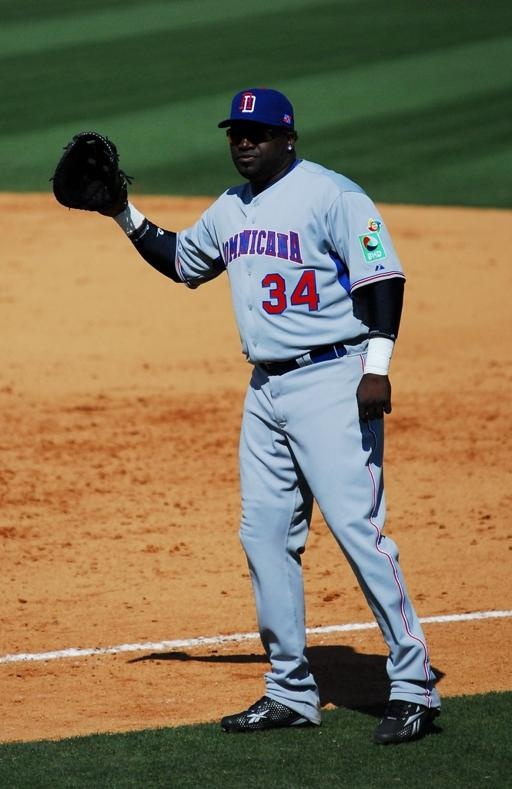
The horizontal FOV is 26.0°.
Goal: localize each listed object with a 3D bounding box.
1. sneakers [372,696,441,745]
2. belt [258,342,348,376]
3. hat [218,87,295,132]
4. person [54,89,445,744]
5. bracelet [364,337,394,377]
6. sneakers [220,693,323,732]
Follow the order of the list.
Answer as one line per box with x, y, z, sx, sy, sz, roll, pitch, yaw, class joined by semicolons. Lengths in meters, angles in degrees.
0.424;0.939;3.241;0.087;0.105;0.241;-1;2;42;sneakers
0.146;-0.099;3.194;0.138;0.045;0.132;-17;-3;-28;belt
0.003;-0.829;3.254;0.192;0.093;0.136;-3;8;-40;hat
0.012;0.060;3.363;0.538;1.934;0.901;-14;9;-40;person
0.329;-0.109;3.137;0.085;0.111;0.122;-11;7;-29;bracelet
0.035;0.964;3.406;0.331;0.121;0.110;2;0;-4;sneakers
